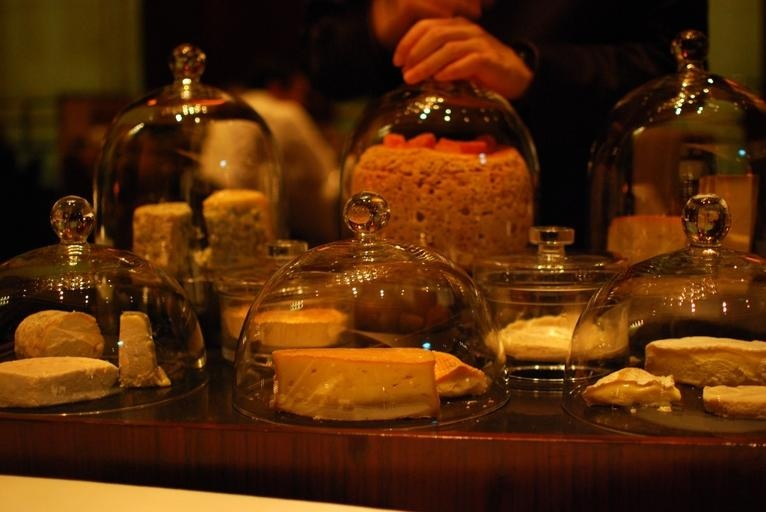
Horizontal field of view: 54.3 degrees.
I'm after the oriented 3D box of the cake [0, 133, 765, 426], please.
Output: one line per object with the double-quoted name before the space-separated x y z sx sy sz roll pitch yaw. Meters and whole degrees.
"cake" -0.020 0.049 0.916 0.920 0.250 0.239 0 4 4
